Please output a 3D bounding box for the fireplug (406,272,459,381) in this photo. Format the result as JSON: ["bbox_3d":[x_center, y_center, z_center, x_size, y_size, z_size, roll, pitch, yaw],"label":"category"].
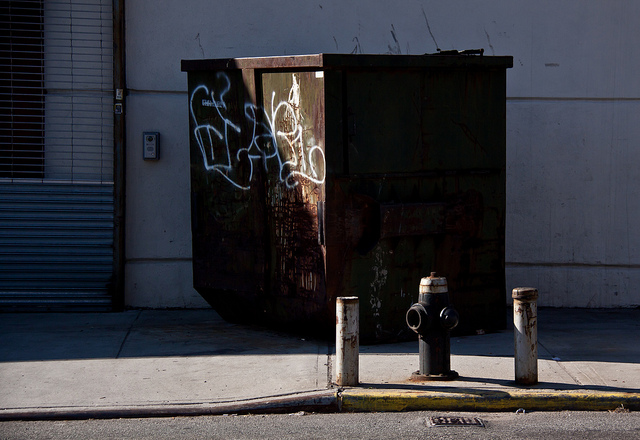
[{"bbox_3d":[1.306,1.229,9.618,0.523,1.246,0.625,0,-3,1],"label":"fireplug"}]
